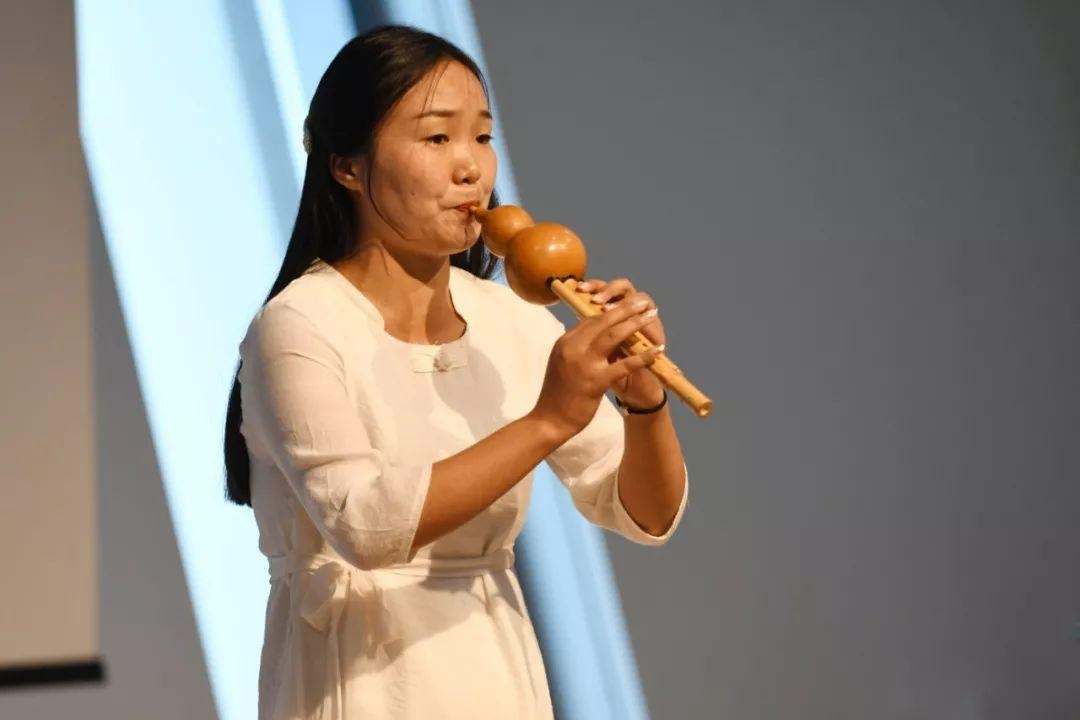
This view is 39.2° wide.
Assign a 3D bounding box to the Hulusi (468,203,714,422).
[{"bbox_3d":[0.074,-0.091,2.278,0.302,0.368,0.270,-1,6,-22],"label":"Hulusi"}]
